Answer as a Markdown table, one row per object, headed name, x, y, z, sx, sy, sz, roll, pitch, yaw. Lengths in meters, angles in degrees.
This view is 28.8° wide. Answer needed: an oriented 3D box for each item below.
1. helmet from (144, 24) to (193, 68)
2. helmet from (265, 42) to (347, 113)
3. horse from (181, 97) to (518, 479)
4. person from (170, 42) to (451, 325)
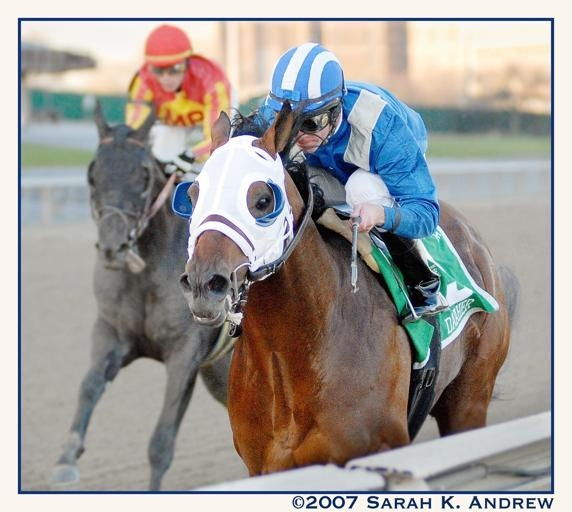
| name | x | y | z | sx | sy | sz | roll | pitch | yaw |
| --- | --- | --- | --- | --- | --- | --- | --- | --- | --- |
| helmet | -0.567 | -1.018 | 5.309 | 0.256 | 0.210 | 0.344 | -1 | 16 | 5 |
| helmet | 0.076 | -0.689 | 4.173 | 0.283 | 0.212 | 0.378 | 7 | 25 | 23 |
| horse | 0.228 | 0.143 | 4.266 | 1.440 | 1.478 | 0.625 | -13 | 18 | -40 |
| person | 0.121 | -0.300 | 4.350 | 0.901 | 1.112 | 0.927 | 0 | 27 | 12 |
